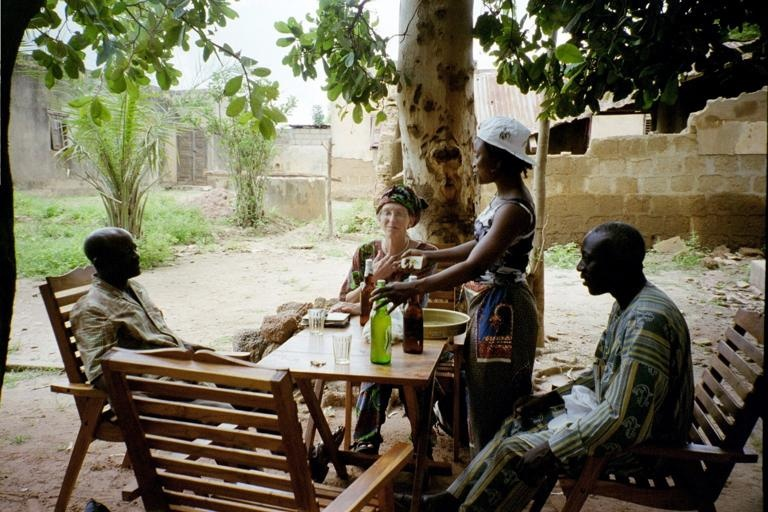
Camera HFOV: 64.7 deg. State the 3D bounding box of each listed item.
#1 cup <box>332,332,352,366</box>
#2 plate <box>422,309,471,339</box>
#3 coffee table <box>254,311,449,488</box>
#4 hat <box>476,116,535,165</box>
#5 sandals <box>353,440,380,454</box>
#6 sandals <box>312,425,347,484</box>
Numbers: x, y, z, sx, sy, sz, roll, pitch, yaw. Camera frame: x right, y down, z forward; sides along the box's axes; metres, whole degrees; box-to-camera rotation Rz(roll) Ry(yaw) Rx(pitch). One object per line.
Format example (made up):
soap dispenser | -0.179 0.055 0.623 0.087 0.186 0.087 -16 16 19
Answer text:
cup | -0.248 0.560 3.588 0.158 0.170 0.152 -1 1 0
plate | 0.400 0.443 4.016 0.230 0.043 0.204 -3 12 -16
coffee table | -0.100 0.958 4.099 1.150 0.988 1.092 3 18 13
hat | 0.790 -0.766 3.852 0.471 0.177 0.334 24 26 2
sandals | -0.130 1.381 4.378 0.105 0.056 0.164 0 -7 4
sandals | -0.413 1.419 4.292 0.224 0.306 0.123 -15 -7 40
